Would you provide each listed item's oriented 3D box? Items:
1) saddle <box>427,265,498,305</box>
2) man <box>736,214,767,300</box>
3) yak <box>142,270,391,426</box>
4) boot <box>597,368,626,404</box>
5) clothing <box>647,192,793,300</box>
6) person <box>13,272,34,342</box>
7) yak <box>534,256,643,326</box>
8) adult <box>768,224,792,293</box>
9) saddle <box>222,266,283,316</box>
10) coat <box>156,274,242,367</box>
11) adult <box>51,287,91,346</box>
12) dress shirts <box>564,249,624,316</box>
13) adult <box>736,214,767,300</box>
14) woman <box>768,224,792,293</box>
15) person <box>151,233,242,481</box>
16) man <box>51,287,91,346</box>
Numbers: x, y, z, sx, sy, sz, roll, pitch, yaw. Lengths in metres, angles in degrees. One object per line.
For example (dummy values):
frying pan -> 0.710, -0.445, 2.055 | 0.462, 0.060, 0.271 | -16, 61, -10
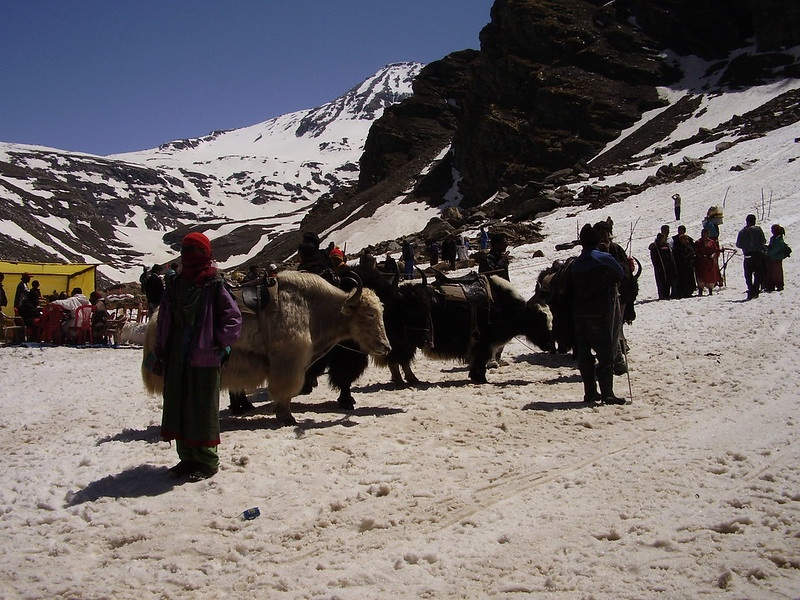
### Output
saddle -> 1.005, -0.236, 11.095 | 0.830, 0.559, 0.535 | -2, 6, -19
man -> 7.549, -0.947, 14.882 | 0.541, 1.712, 1.406 | 4, 11, 27
yak -> -1.679, 0.580, 8.851 | 3.045, 1.951, 1.000 | -1, -10, -16
boot -> 2.859, 1.148, 9.259 | 0.333, 0.446, 0.315 | -4, 10, -14
clothing -> 7.429, -1.041, 15.825 | 2.140, 2.612, 2.325 | -2, -11, 0
person -> -8.615, 0.003, 15.772 | 0.379, 1.104, 1.741 | -7, 12, -29
yak -> 2.769, -0.104, 10.178 | 1.317, 1.316, 0.770 | 0, 7, 38
adult -> 8.198, -0.914, 15.034 | 0.431, 1.380, 0.890 | 4, 12, 29
saddle -> -1.759, -0.079, 8.427 | 0.458, 0.608, 0.295 | -5, -12, -10
coat -> -2.158, 0.166, 7.323 | 0.888, 0.966, 0.512 | 0, 0, 3
adult -> -7.207, 0.464, 15.355 | 0.711, 0.907, 0.711 | -3, 10, -6
dress shirts -> 2.672, -0.219, 9.481 | 0.830, 0.950, 0.566 | -2, 5, 44
adult -> 7.552, -0.948, 14.887 | 0.541, 1.712, 1.395 | 4, 11, 27
woman -> 8.185, -0.910, 15.012 | 0.431, 1.380, 0.839 | 4, 12, 29
person -> -2.105, 0.552, 7.216 | 0.905, 2.452, 0.780 | -6, 11, -21
man -> -7.207, 0.464, 15.355 | 0.711, 0.907, 0.711 | -3, 10, -6
